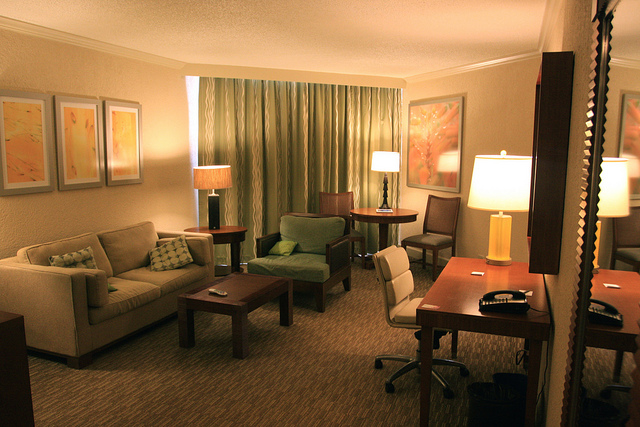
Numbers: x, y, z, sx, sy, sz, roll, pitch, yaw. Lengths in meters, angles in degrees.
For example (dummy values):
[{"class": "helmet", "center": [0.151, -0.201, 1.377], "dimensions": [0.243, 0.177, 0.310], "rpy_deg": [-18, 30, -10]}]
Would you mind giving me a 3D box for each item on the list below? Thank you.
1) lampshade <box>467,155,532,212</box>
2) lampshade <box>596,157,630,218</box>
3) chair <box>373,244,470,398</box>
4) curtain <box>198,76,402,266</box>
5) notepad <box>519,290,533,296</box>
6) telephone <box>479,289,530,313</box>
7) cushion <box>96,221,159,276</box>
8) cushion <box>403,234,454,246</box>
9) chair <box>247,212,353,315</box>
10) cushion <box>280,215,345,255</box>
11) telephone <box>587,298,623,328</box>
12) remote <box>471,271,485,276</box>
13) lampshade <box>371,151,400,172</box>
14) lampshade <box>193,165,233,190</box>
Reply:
[{"class": "lampshade", "center": [1.379, -0.227, 3.557], "dimensions": [0.466, 0.386, 0.442], "rpy_deg": [-1, 6, -32]}, {"class": "lampshade", "center": [1.124, -0.092, 1.730], "dimensions": [0.059, 0.242, 0.328], "rpy_deg": [3, 9, 24]}, {"class": "chair", "center": [0.713, 0.857, 4.242], "dimensions": [1.120, 1.292, 1.167], "rpy_deg": [1, 3, 24]}, {"class": "curtain", "center": [-0.410, -0.674, 6.581], "dimensions": [3.047, 2.435, 0.214], "rpy_deg": [-4, 8, -23]}, {"class": "notepad", "center": [1.477, 0.563, 3.209], "dimensions": [0.068, 0.015, 0.045], "rpy_deg": [1, 10, 18]}, {"class": "telephone", "center": [1.215, 0.558, 2.993], "dimensions": [0.247, 0.101, 0.166], "rpy_deg": [1, 3, 12]}, {"class": "cushion", "center": [-2.062, 0.388, 5.148], "dimensions": [0.707, 0.445, 0.247], "rpy_deg": [-13, 18, 14]}, {"class": "cushion", "center": [1.465, 0.366, 6.149], "dimensions": [0.649, 0.088, 0.308], "rpy_deg": [1, 8, 15]}, {"class": "chair", "center": [-0.227, 0.536, 5.597], "dimensions": [1.045, 0.918, 0.968], "rpy_deg": [4, 12, 27]}, {"class": "cushion", "center": [-0.084, 0.301, 5.801], "dimensions": [0.945, 0.523, 0.331], "rpy_deg": [1, -8, 28]}, {"class": "telephone", "center": [1.134, 0.397, 1.852], "dimensions": [0.191, 0.075, 0.192], "rpy_deg": [-1, 2, 38]}, {"class": "remote", "center": [1.253, 0.477, 3.597], "dimensions": [0.094, 0.012, 0.075], "rpy_deg": [1, 8, 20]}, {"class": "lampshade", "center": [0.965, -0.759, 6.695], "dimensions": [0.334, 0.218, 0.323], "rpy_deg": [-3, 6, -38]}, {"class": "lampshade", "center": [-1.394, -0.446, 5.924], "dimensions": [0.370, 0.247, 0.371], "rpy_deg": [1, 3, 38]}]
